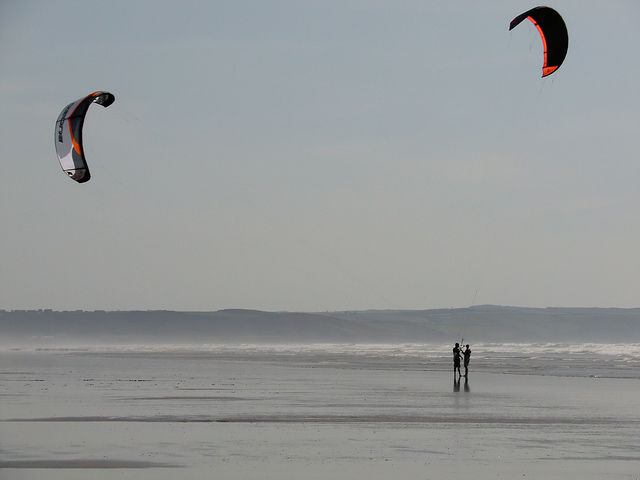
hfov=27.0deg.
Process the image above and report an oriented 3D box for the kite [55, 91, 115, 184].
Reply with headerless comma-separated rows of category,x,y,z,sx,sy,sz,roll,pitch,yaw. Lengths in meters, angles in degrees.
kite,-8.883,-3.860,48.609,1.561,4.060,2.645,9,-51,9
